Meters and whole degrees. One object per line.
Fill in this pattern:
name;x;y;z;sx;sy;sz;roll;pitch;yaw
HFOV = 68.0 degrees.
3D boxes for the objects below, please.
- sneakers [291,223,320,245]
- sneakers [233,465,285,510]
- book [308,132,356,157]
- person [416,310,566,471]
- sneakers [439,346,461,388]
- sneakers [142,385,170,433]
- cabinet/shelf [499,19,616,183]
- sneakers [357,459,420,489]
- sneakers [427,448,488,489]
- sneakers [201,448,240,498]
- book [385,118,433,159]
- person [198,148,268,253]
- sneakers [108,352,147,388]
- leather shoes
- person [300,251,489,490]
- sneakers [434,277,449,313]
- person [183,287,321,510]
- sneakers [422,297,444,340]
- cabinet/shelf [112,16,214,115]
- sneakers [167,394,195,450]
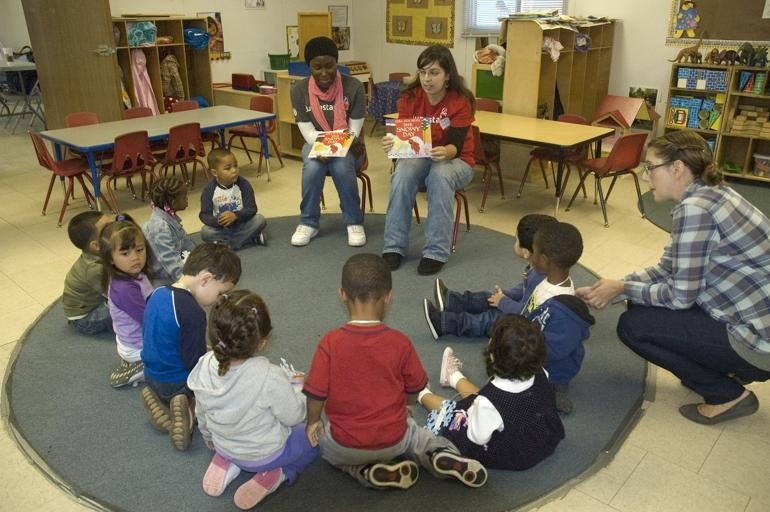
sneakers;-0.702;-0.199;5.082;0.124;0.129;0.306;6;16;20
sneakers;-0.636;1.173;2.943;0.280;0.057;0.133;-37;63;-25
book;-0.471;-0.981;5.023;0.391;0.219;0.213;1;25;7
person;0.593;0.754;3.090;0.467;0.598;0.739;-19;30;-21
sneakers;0.402;0.684;3.555;0.119;0.091;0.278;-6;46;24
sneakers;-1.314;0.877;3.274;0.062;0.142;0.257;-14;54;-39
cabinet/shelf;1.861;-1.704;6.289;1.879;1.700;0.535;-19;32;-33
sneakers;0.027;1.099;2.895;0.278;0.134;0.139;5;-1;-12
sneakers;0.382;1.079;2.990;0.325;0.149;0.138;26;4;1
sneakers;-0.858;1.139;3.019;0.155;0.089;0.247;32;70;15
book;0.203;-0.970;4.702;0.345;0.324;0.025;-1;2;3
person;-1.311;-0.476;4.886;0.581;0.820;0.587;12;31;16
sneakers;-1.599;0.718;3.612;0.143;0.149;0.273;1;5;10
leather shoes;1.965;0.829;3.327;0.510;0.185;0.203;-12;36;9
person;0.055;0.495;3.185;0.880;0.979;1.255;-7;29;-17
sneakers;0.398;0.263;4.023;0.088;0.215;0.074;-1;-13;-12
person;-0.718;0.786;2.981;0.768;1.022;0.701;11;24;19
sneakers;0.334;0.424;3.903;0.116;0.291;0.101;-15;-2;16
cabinet/shelf;-2.993;-2.536;7.538;0.414;1.321;1.468;19;30;38
sneakers;-1.129;0.920;3.161;0.121;0.323;0.139;-1;-11;10
